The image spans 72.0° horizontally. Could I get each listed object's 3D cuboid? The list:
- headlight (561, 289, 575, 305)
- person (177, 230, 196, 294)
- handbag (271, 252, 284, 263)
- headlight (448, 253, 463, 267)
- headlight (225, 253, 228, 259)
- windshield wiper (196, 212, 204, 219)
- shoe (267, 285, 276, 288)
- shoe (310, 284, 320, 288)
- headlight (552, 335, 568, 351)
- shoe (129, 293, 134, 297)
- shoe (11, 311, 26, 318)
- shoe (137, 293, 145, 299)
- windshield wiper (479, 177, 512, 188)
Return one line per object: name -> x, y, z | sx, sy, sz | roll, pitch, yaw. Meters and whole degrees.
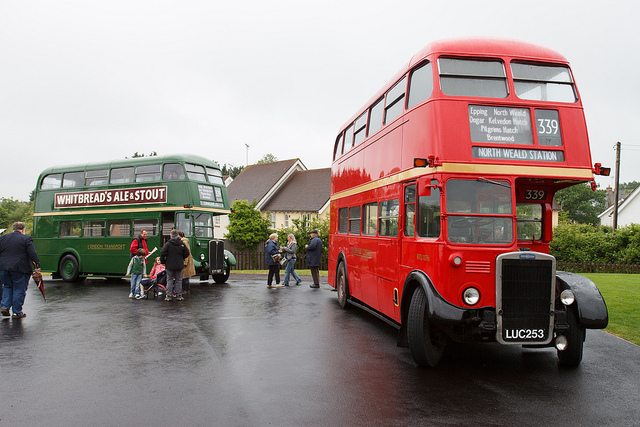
headlight -> 4.724, 1.595, 8.436 | 0.244, 0.306, 0.163 | 1, 0, 19
person -> -5.431, 1.981, 17.788 | 0.739, 2.350, 0.816 | 2, -12, -33
handbag -> -1.858, 1.890, 18.828 | 0.411, 0.385, 0.417 | 1, 0, 1
headlight -> 2.474, 0.824, 8.147 | 0.257, 0.284, 0.198 | 4, 0, -2
headlight -> -4.477, 2.043, 21.263 | 0.163, 0.312, 0.187 | 0, 1, -5
windshield wiper -> -5.441, 0.083, 20.004 | 0.368, 0.051, 0.050 | -43, 27, -14
shoe -> -2.115, 3.187, 19.450 | 0.411, 0.178, 0.140 | -2, 3, -40
shoe -> -0.231, 3.165, 19.244 | 0.415, 0.192, 0.160 | 5, -3, 6
headlight -> 4.515, 2.413, 8.358 | 0.248, 0.268, 0.115 | 19, 8, -1
shoe -> -6.991, 3.026, 16.425 | 0.122, 0.218, 0.204 | 4, -6, -27
shoe -> -8.486, 2.863, 12.511 | 0.358, 0.178, 0.120 | -2, 6, -36
shoe -> -6.581, 3.043, 16.252 | 0.222, 0.119, 0.386 | 1, 0, -7
windshield wiper -> 3.327, -0.601, 8.359 | 0.479, 0.036, 0.032 | 21, 20, 4
